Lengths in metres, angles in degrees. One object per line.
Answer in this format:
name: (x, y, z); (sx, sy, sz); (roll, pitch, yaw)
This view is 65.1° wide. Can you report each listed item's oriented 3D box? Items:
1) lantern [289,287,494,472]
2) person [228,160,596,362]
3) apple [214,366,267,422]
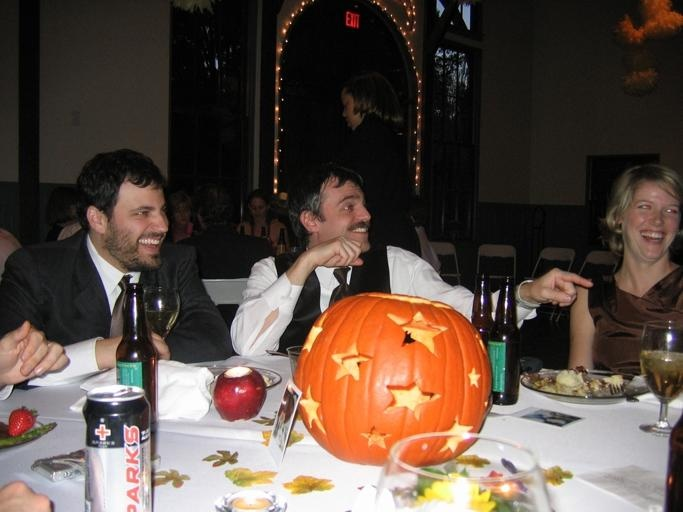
lantern: (0.128, 0.246, 1.219); (0.354, 0.342, 0.378); (1, -12, 4)
person: (0.165, 0.031, 2.093); (1.151, 0.766, 0.888); (-7, -2, 32)
apple: (-0.259, 0.346, 1.377); (0.117, 0.125, 0.121); (3, -6, -25)
